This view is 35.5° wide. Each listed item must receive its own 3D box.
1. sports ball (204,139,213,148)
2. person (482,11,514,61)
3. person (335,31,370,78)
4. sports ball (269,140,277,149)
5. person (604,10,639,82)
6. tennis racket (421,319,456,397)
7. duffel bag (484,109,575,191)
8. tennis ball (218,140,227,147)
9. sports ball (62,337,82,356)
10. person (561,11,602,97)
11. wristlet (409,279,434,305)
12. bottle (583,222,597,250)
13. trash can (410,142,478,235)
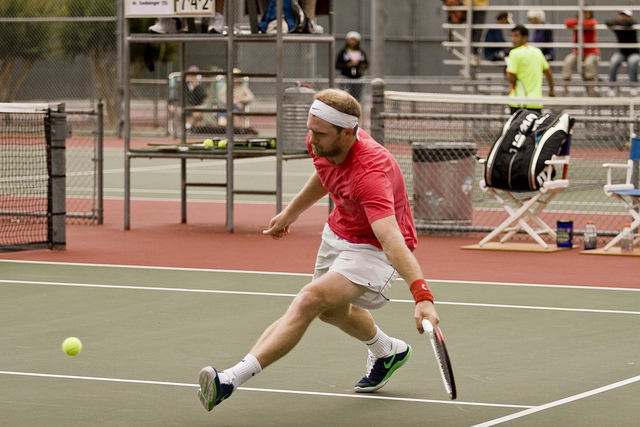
[{"bbox_3d":[-1.925,-1.211,17.430,0.117,0.141,0.119,14,28,-8],"label":"sports ball"},{"bbox_3d":[4.795,-4.763,26.509,0.750,1.128,0.909,-3,38,1],"label":"person"},{"bbox_3d":[0.944,-4.018,27.363,0.974,1.901,0.780,-3,29,-5],"label":"person"},{"bbox_3d":[-0.765,-1.158,16.802,0.109,0.140,0.114,0,6,0],"label":"sports ball"},{"bbox_3d":[8.010,-4.367,26.485,0.852,1.838,1.003,3,11,18],"label":"person"},{"bbox_3d":[1.130,1.403,9.610,0.176,0.813,0.218,-20,-21,-15],"label":"tennis racket"},{"bbox_3d":[3.051,-0.917,14.755,0.954,1.344,0.529,3,-32,37],"label":"duffel bag"},{"bbox_3d":[-1.709,-1.215,17.579,0.122,0.119,0.127,-16,35,12],"label":"tennis ball"},{"bbox_3d":[-2.597,1.378,10.536,0.180,0.197,0.246,-4,11,-17],"label":"sports ball"},{"bbox_3d":[6.891,-4.167,26.360,0.923,2.180,0.935,5,12,25],"label":"person"},{"bbox_3d":[0.883,0.662,8.710,0.189,0.188,0.160,1,11,4],"label":"wristlet"},{"bbox_3d":[4.120,0.331,15.205,0.185,0.418,0.193,0,11,0],"label":"bottle"},{"bbox_3d":[2.027,-0.460,16.437,0.967,1.651,0.898,-1,-1,-22],"label":"trash can"}]
